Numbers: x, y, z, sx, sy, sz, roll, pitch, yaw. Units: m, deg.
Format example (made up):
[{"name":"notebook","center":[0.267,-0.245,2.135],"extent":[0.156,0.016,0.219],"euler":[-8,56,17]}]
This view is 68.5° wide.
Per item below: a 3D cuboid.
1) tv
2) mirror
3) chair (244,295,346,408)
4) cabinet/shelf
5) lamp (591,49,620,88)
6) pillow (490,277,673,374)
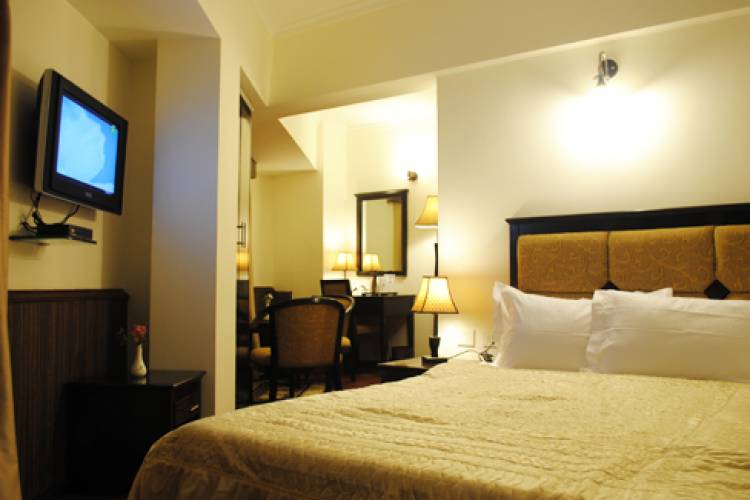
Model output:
[{"name":"tv","center":[-1.987,-0.636,3.602],"extent":[0.292,0.728,0.818],"euler":[0,-7,7]},{"name":"mirror","center":[0.104,-0.196,6.823],"extent":[1.083,1.404,0.104],"euler":[0,-1,38]},{"name":"chair","center":[-0.677,0.876,4.703],"extent":[0.778,1.083,0.837],"euler":[3,2,-13]},{"name":"cabinet/shelf","center":[-1.557,1.122,3.731],"extent":[0.678,0.754,0.773],"euler":[0,-2,5]},{"name":"lamp","center":[1.659,-1.302,3.999],"extent":[0.206,0.242,0.144],"euler":[-14,19,-40]},{"name":"pillow","center":[1.109,0.531,3.621],"extent":[0.803,0.478,0.262],"euler":[6,-1,-26]}]
